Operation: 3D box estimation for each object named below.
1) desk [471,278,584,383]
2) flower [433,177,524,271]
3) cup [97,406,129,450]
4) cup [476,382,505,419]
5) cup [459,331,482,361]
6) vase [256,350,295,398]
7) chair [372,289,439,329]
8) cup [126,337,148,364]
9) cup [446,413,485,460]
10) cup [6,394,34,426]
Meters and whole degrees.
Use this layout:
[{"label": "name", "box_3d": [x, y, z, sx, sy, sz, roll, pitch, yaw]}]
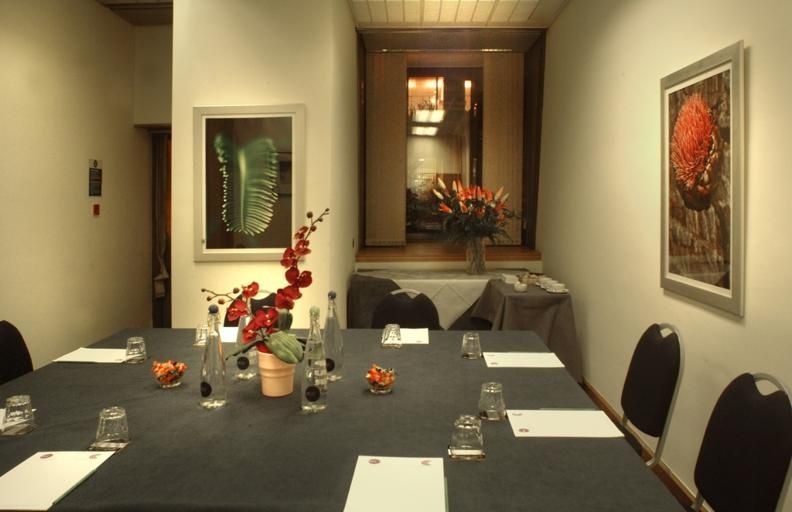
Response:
[{"label": "desk", "box_3d": [1.351, 0.587, 5.149, 1.025, 0.695, 0.849, 2, 0, 15]}, {"label": "flower", "box_3d": [0.794, -0.301, 5.580, 0.766, 0.970, 0.336, 1, 10, 4]}, {"label": "cup", "box_3d": [-1.203, 0.729, 2.294, 0.159, 0.148, 0.152, 2, -1, 0]}, {"label": "cup", "box_3d": [0.432, 0.679, 2.519, 0.144, 0.156, 0.144, 0, -4, 0]}, {"label": "cup", "box_3d": [0.433, 0.540, 3.173, 0.126, 0.132, 0.137, 0, -2, 0]}, {"label": "vase", "box_3d": [-0.583, 0.574, 2.655, 0.217, 0.241, 0.217, 0, -3, 0]}, {"label": "chair", "box_3d": [0.073, 0.358, 4.143, 0.361, 0.434, 0.321, -1, 2, -1]}, {"label": "cup", "box_3d": [-1.500, 0.555, 3.117, 0.141, 0.137, 0.121, 0, 0, 17]}, {"label": "cup", "box_3d": [0.297, 0.760, 2.264, 0.158, 0.146, 0.158, 0, -2, 0]}, {"label": "cup", "box_3d": [-1.712, 0.688, 2.427, 0.127, 0.123, 0.126, 0, -1, 0]}]
